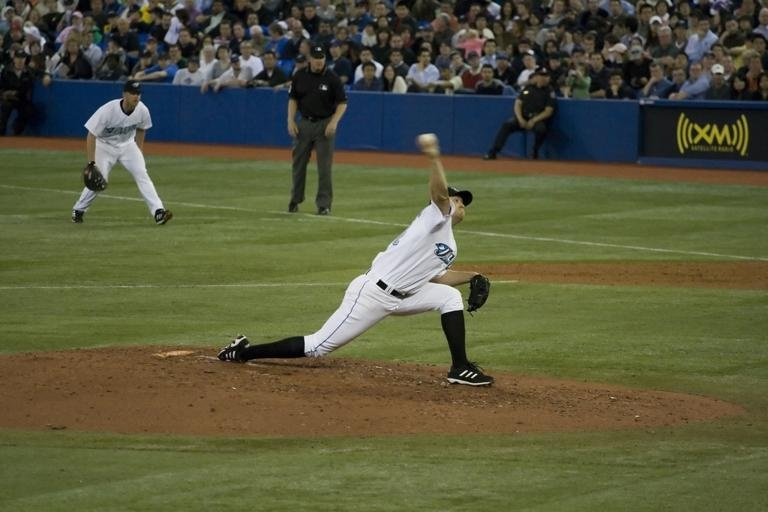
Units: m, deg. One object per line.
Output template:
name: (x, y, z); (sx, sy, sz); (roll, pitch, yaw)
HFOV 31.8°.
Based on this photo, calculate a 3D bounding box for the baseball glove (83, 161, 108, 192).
baseball glove: (-4.665, -1.250, 21.568); (0.431, 0.427, 0.420); (-18, -13, 43)

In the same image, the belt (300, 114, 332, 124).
belt: (-1.129, -2.287, 22.514); (0.516, 0.123, 0.165); (1, 6, 2)

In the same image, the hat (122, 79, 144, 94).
hat: (-4.004, -2.669, 21.319); (0.247, 0.148, 0.334); (-5, 13, -40)

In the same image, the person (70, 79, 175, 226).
person: (-4.157, -1.633, 21.596); (1.260, 2.308, 0.671); (0, 8, -8)

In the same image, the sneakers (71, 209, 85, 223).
sneakers: (-5.005, -0.625, 21.969); (0.254, 0.195, 0.193); (-1, 7, -30)

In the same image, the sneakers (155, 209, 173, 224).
sneakers: (-3.610, -0.628, 21.790); (0.404, 0.147, 0.185); (-8, 32, 48)
